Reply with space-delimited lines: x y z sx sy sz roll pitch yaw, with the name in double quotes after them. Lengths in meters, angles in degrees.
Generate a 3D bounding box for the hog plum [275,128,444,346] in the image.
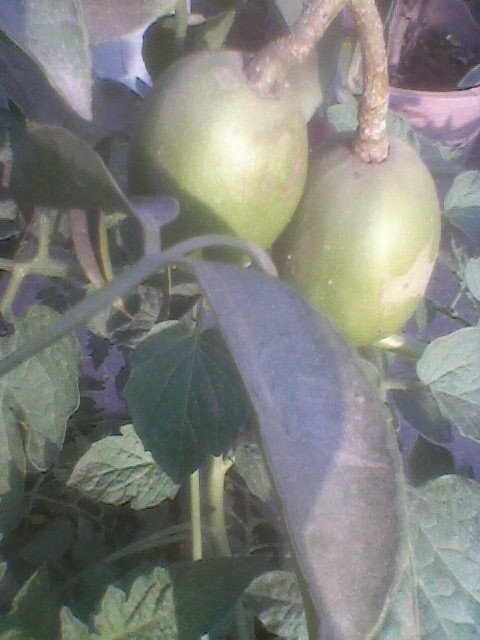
0.085 -0.046 0.560 0.108 0.179 0.118 -6 31 -41 "hog plum"

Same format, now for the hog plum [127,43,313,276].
-0.003 -0.107 0.501 0.105 0.113 0.165 25 95 10 "hog plum"
